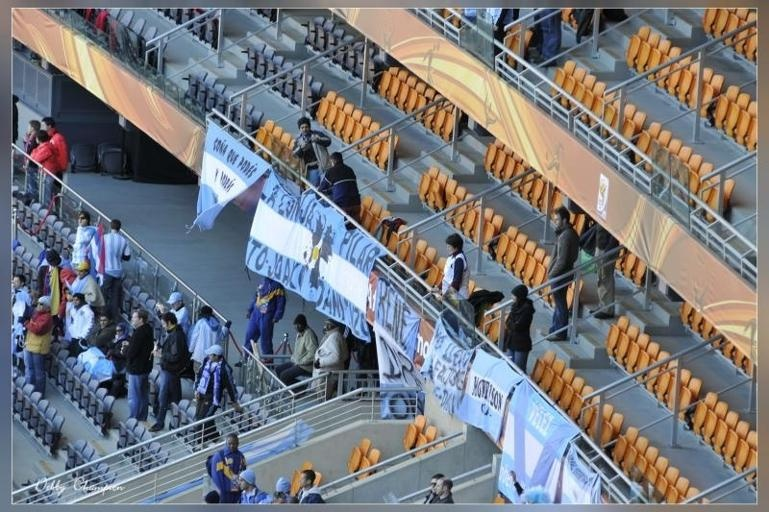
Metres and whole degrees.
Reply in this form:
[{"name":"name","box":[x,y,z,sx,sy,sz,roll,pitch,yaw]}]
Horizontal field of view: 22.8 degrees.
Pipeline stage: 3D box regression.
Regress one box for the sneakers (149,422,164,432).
[{"name":"sneakers","box":[-3.608,2.704,30.381,0.220,0.097,0.122,8,0,-7]}]

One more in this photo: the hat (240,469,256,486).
[{"name":"hat","box":[-2.022,3.264,28.321,0.214,0.278,0.205,-12,-25,-12]}]

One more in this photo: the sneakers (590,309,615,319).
[{"name":"sneakers","box":[3.323,0.896,29.314,0.129,0.149,0.345,-8,12,-40]}]

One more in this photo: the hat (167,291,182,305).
[{"name":"hat","box":[-3.310,0.693,30.535,0.253,0.134,0.193,-6,11,-28]}]

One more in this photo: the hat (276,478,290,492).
[{"name":"hat","box":[-1.541,3.434,29.086,0.181,0.240,0.247,5,20,-9]}]

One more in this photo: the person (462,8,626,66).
[{"name":"person","box":[2.711,-3.557,30.711,1.349,0.619,1.590,-6,25,-3]}]

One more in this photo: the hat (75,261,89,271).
[{"name":"hat","box":[-4.926,0.172,31.251,0.176,0.096,0.132,14,11,16]}]

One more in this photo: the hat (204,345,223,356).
[{"name":"hat","box":[-2.629,1.458,29.593,0.202,0.109,0.153,4,5,6]}]
